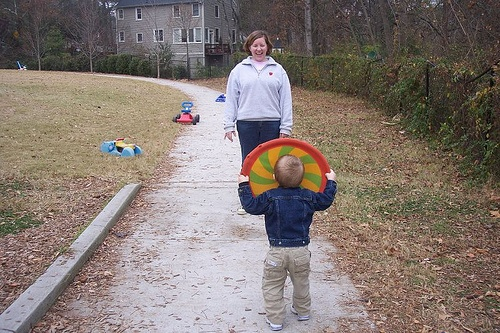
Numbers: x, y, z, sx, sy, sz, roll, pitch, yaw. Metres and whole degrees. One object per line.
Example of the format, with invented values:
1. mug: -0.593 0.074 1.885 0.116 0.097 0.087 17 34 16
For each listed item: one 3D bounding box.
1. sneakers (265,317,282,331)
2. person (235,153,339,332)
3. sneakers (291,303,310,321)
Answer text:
1. sneakers: 0.262 1.674 4.576 0.082 0.090 0.193 -1 8 -20
2. person: 0.429 0.861 4.627 1.035 1.636 0.448 -3 12 -14
3. sneakers: 0.564 1.602 4.750 0.089 0.109 0.237 -3 11 -29
